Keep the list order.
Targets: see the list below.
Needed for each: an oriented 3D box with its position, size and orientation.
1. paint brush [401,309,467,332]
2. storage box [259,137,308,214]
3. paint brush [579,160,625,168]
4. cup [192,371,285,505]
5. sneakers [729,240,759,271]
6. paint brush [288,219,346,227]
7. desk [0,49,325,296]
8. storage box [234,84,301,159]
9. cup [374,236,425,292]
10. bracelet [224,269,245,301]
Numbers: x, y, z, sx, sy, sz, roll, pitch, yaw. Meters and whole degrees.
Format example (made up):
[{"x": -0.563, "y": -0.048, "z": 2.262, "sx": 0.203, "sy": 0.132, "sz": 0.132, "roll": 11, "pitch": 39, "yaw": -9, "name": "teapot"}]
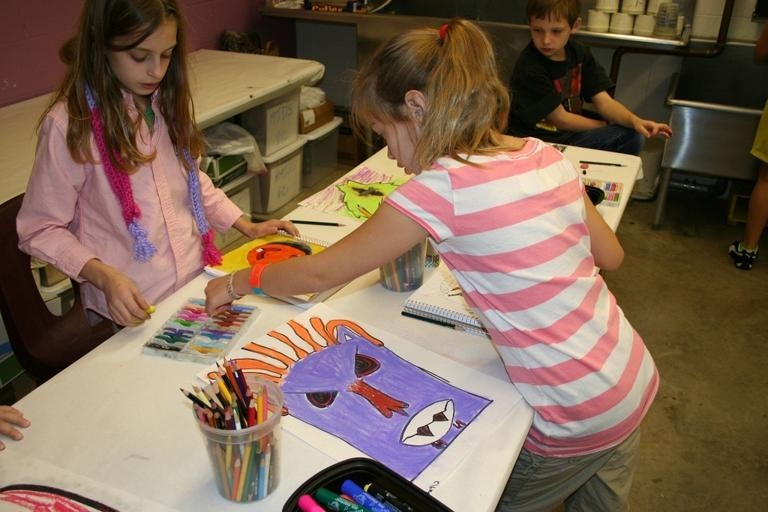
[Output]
[{"x": 0.143, "y": 0.181, "z": 1.508, "sx": 0.114, "sy": 0.017, "sz": 0.018, "roll": 20, "pitch": 63, "yaw": 10, "name": "paint brush"}, {"x": -0.656, "y": -0.548, "z": 3.633, "sx": 0.313, "sy": 0.325, "sz": 0.474, "roll": 11, "pitch": 37, "yaw": 23, "name": "storage box"}, {"x": 0.930, "y": -0.390, "z": 2.336, "sx": 0.265, "sy": 0.032, "sz": 0.031, "roll": 1, "pitch": 13, "yaw": 2, "name": "paint brush"}, {"x": -0.298, "y": 0.395, "z": 1.221, "sx": 0.193, "sy": 0.236, "sz": 0.214, "roll": -10, "pitch": 32, "yaw": -15, "name": "cup"}, {"x": 2.200, "y": -0.017, "z": 3.369, "sx": 0.090, "sy": 0.118, "sz": 0.257, "roll": 0, "pitch": 31, "yaw": 18, "name": "sneakers"}, {"x": -0.235, "y": -0.110, "z": 1.875, "sx": 0.206, "sy": 0.018, "sz": 0.021, "roll": 3, "pitch": 2, "yaw": 2, "name": "paint brush"}, {"x": -1.136, "y": -0.956, "z": 3.287, "sx": 1.118, "sy": 0.539, "sz": 2.206, "roll": 19, "pitch": 47, "yaw": 25, "name": "desk"}, {"x": -0.722, "y": -0.904, "z": 3.509, "sx": 0.310, "sy": 0.427, "sz": 0.441, "roll": 14, "pitch": 21, "yaw": 6, "name": "storage box"}, {"x": 0.049, "y": 0.033, "z": 1.626, "sx": 0.127, "sy": 0.156, "sz": 0.141, "roll": -1, "pitch": 32, "yaw": 4, "name": "cup"}, {"x": -0.397, "y": 0.079, "z": 1.472, "sx": 0.024, "sy": 0.060, "sz": 0.067, "roll": -13, "pitch": 59, "yaw": 26, "name": "bracelet"}]
